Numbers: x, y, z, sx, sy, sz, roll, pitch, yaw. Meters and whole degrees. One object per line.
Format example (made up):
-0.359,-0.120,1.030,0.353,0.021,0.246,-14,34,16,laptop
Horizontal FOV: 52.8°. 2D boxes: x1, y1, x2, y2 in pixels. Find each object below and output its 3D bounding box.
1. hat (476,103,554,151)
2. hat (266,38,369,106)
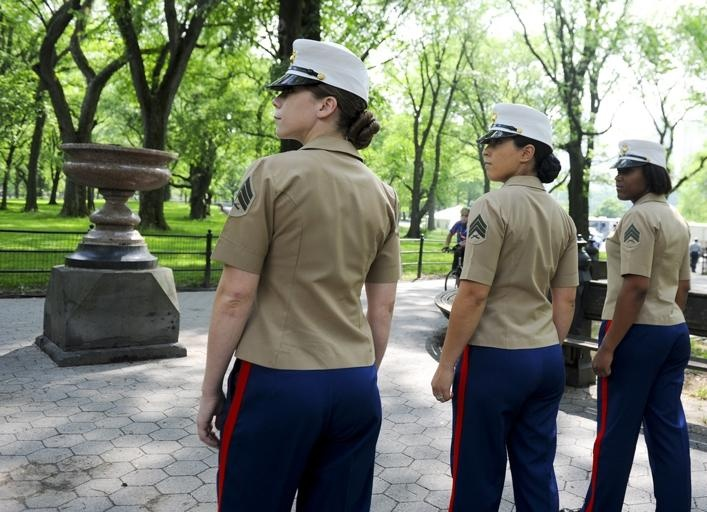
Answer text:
1.192,-0.915,5.192,0.455,0.207,0.322,4,3,-4,hat
-0.172,-1.125,4.455,0.514,0.226,0.373,5,3,-10,hat
